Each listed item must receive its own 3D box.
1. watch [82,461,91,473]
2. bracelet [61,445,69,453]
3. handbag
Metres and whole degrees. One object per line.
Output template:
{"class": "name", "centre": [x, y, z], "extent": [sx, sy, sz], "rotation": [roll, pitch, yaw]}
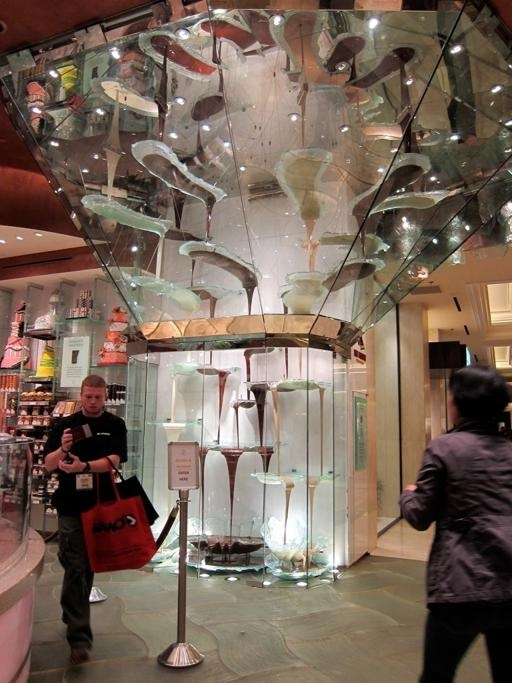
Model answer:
{"class": "watch", "centre": [-0.921, 0.690, 2.816], "extent": [0.040, 0.055, 0.059], "rotation": [0, -1, -8]}
{"class": "bracelet", "centre": [-1.032, 0.580, 2.773], "extent": [0.040, 0.028, 0.040], "rotation": [0, -7, 43]}
{"class": "handbag", "centre": [-0.736, 0.962, 2.800], "extent": [0.404, 0.576, 0.161], "rotation": [3, -13, -10]}
